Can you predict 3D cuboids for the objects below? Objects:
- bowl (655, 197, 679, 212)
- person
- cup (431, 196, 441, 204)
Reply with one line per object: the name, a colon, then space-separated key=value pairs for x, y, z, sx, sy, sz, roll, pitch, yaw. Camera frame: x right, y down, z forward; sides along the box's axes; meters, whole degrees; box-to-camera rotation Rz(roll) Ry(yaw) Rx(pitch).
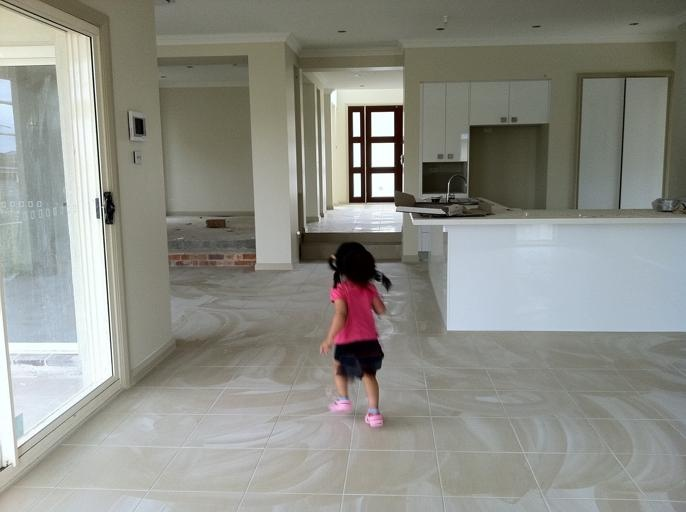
bowl: x=3.009 y=-0.473 z=4.656 sx=0.174 sy=0.080 sz=0.125 roll=2 pitch=1 yaw=-44
person: x=0.085 y=0.492 z=3.144 sx=0.419 sy=1.168 sz=0.271 roll=0 pitch=13 yaw=5
cup: x=1.016 y=-0.618 z=5.478 sx=0.118 sy=0.080 sz=0.119 roll=0 pitch=4 yaw=0
